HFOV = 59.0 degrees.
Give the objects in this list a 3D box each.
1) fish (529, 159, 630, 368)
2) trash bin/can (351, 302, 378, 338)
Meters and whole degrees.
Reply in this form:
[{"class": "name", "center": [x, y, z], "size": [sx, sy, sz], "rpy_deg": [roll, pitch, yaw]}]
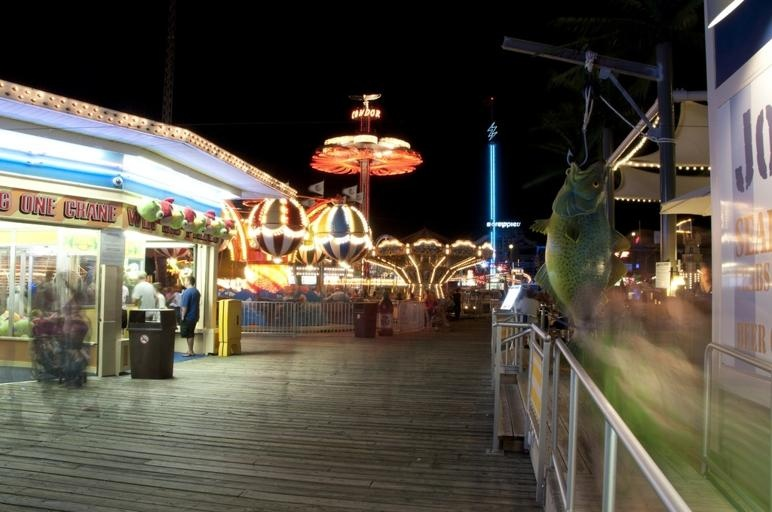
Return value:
[{"class": "fish", "center": [2.999, -0.042, 10.256], "size": [1.322, 2.836, 1.334], "rpy_deg": [-4, -5, 15]}, {"class": "trash bin/can", "center": [-0.668, 2.097, 22.644], "size": [1.101, 1.511, 1.022], "rpy_deg": [1, -3, -6]}]
